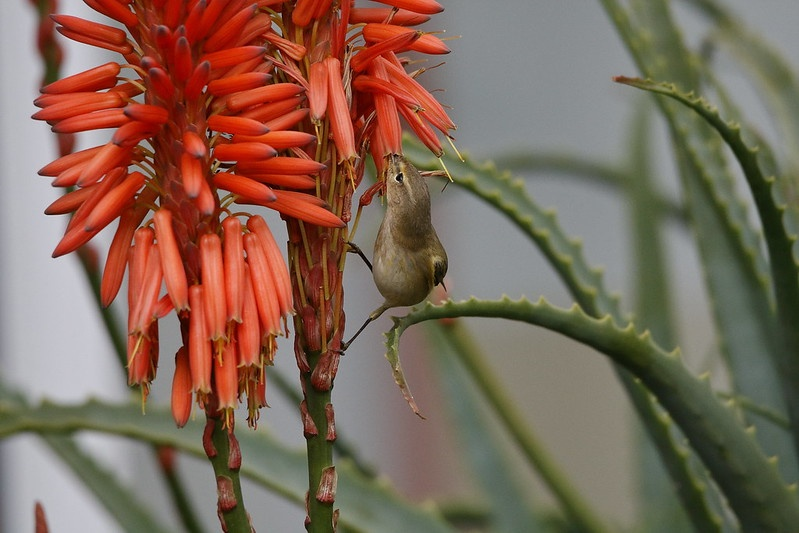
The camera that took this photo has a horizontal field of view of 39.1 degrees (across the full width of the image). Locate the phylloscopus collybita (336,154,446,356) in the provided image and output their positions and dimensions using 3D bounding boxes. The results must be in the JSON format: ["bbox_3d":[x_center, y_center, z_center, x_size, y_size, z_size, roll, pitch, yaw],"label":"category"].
[{"bbox_3d":[0.006,-0.039,1.627,0.104,0.333,0.142,-5,2,-41],"label":"phylloscopus collybita"}]
